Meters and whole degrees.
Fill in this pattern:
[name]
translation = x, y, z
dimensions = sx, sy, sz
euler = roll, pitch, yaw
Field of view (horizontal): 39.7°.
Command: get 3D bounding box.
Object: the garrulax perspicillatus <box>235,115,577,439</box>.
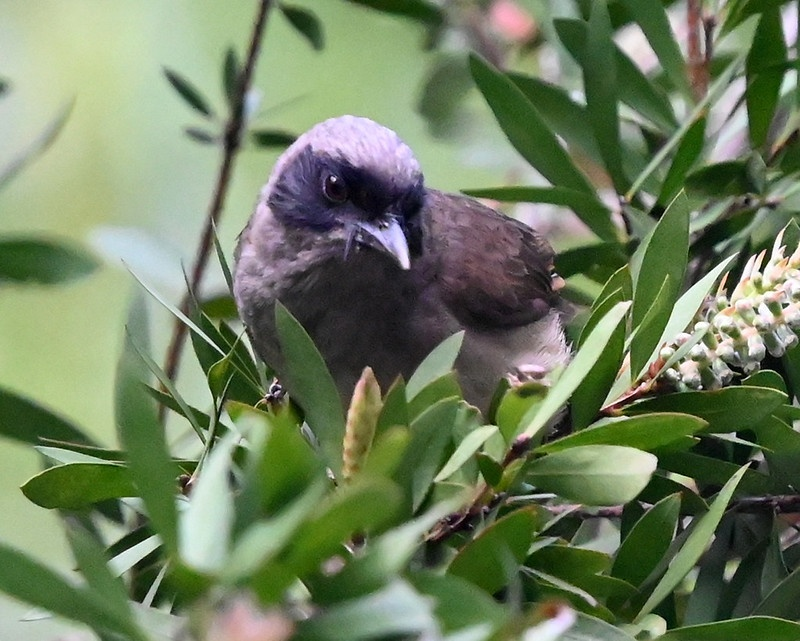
[garrulax perspicillatus]
translation = 0.103, -0.169, 2.697
dimensions = 0.705, 0.705, 1.089
euler = 11, 22, 33
